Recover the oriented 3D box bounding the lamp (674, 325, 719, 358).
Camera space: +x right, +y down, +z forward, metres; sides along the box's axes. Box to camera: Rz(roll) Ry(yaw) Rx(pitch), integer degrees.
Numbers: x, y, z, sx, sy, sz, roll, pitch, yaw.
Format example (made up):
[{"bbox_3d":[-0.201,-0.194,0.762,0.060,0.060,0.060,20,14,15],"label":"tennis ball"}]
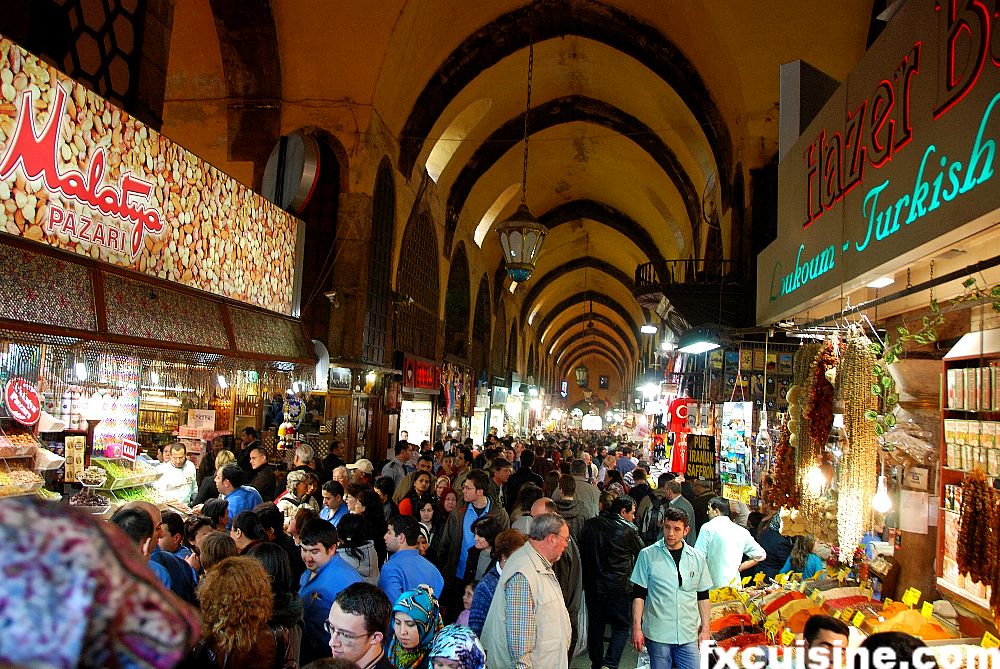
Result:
[{"bbox_3d":[3.372,0.105,11.072,0.526,0.383,0.749,1,-10,-13],"label":"lamp"}]
